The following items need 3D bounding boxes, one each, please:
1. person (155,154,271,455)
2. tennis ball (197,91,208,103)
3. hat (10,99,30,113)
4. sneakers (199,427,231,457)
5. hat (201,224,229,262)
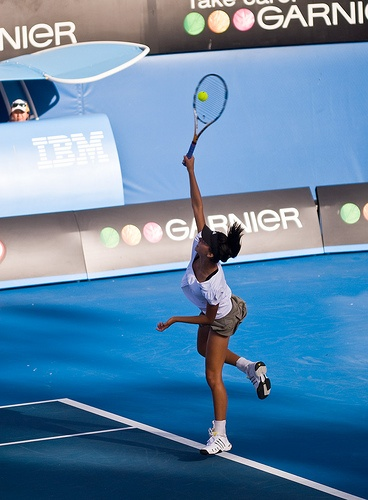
[{"bbox_3d":[0.182,0.344,2.939,0.593,1.771,0.900,-2,14,11],"label":"person"},{"bbox_3d":[0.142,-1.200,3.783,0.081,0.043,0.075,-1,24,0],"label":"tennis ball"},{"bbox_3d":[-3.297,-2.912,9.699,0.259,0.183,0.354,0,-12,-3],"label":"hat"},{"bbox_3d":[0.173,1.090,2.724,0.124,0.104,0.133,4,15,30],"label":"sneakers"},{"bbox_3d":[0.177,-0.037,2.642,0.083,0.179,0.132,-26,-5,42],"label":"hat"}]
